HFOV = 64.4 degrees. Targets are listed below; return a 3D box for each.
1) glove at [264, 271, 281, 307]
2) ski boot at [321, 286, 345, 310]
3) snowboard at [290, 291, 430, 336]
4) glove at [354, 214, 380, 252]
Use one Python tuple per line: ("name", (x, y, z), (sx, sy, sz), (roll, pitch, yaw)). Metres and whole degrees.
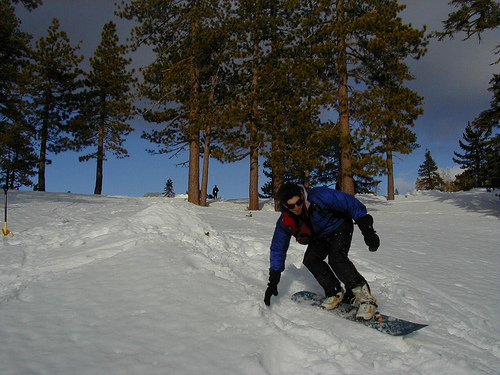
("glove", (0.394, 1.780, 7.077), (0.272, 0.599, 0.186), (1, -4, 4))
("ski boot", (1.525, 2.052, 7.303), (0.518, 0.237, 0.188), (-4, -3, -38))
("snowboard", (1.873, 2.227, 6.986), (1.716, 0.256, 0.479), (7, 14, 35))
("glove", (2.038, 0.788, 6.934), (0.373, 0.640, 0.231), (0, -4, 15))
